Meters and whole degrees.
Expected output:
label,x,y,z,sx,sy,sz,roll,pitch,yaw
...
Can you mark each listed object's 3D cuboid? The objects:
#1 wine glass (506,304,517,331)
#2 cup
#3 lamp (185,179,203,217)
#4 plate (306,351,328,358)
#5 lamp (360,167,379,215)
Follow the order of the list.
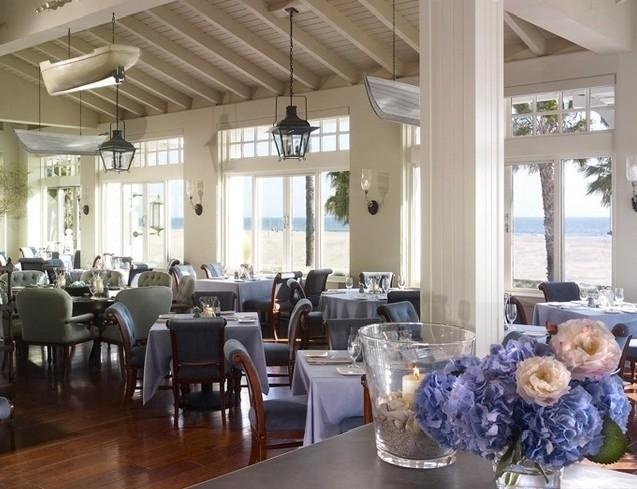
label,x,y,z,sx,sy,sz,roll,pitch,yaw
wine glass,1.642,0.630,4.381,0.076,0.255,0.320,-2,-2,20
cup,0.308,0.422,1.570,0.338,0.389,0.342,1,-1,0
lamp,-2.562,-0.937,10.512,0.439,0.739,0.176,-3,-2,41
plate,-0.015,0.792,3.696,0.163,0.022,0.200,-2,-3,0
lamp,0.806,-0.839,8.362,0.341,0.754,0.236,-2,-2,24
